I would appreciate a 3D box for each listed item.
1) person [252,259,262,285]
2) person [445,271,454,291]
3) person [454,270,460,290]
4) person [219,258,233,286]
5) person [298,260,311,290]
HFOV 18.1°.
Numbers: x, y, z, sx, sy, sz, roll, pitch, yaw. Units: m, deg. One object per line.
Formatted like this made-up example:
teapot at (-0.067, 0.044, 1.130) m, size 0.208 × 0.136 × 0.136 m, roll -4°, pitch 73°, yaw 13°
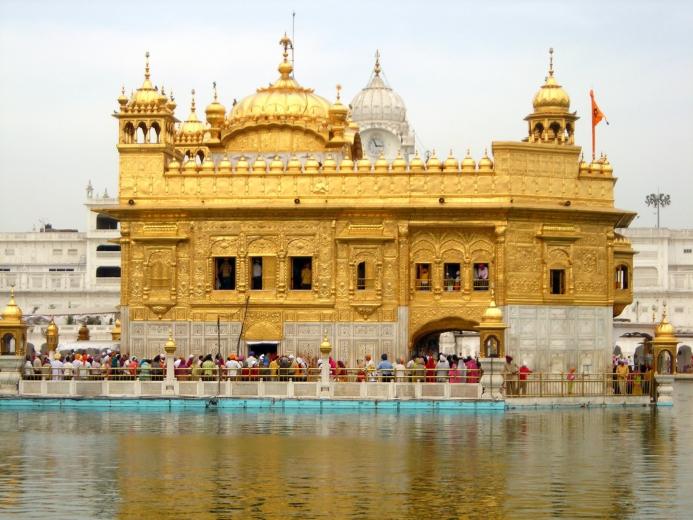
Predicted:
person at (-3.028, 0.438, 75.904) m, size 0.386 × 1.060 × 0.231 m, roll 0°, pitch -9°, yaw -2°
person at (3.791, 0.587, 75.467) m, size 0.407 × 0.895 × 0.129 m, roll 0°, pitch -9°, yaw 1°
person at (4.057, 0.667, 75.405) m, size 0.298 × 0.685 × 0.115 m, roll -7°, pitch -11°, yaw 36°
person at (-4.149, 0.440, 76.037) m, size 0.461 × 1.012 × 0.225 m, roll 0°, pitch -9°, yaw -2°
person at (-1.316, 0.441, 75.738) m, size 0.400 × 1.062 × 0.185 m, roll -2°, pitch -9°, yaw 12°
